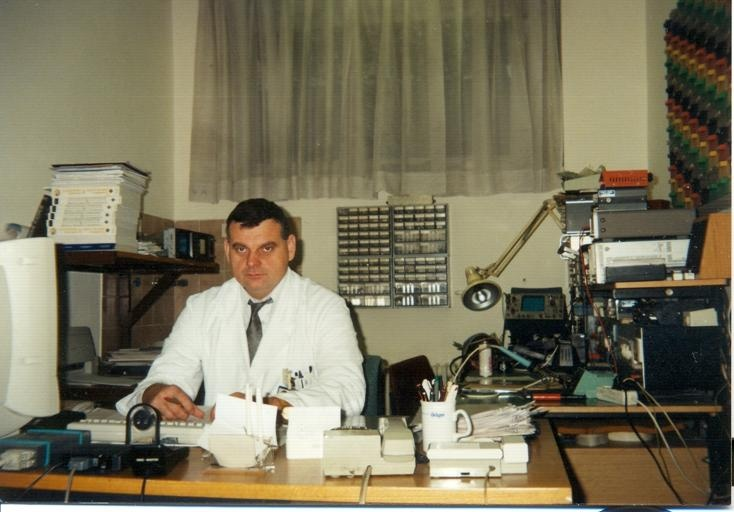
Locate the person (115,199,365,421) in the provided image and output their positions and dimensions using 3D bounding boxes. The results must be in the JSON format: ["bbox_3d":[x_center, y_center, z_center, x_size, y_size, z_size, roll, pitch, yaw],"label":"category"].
[{"bbox_3d":[-0.304,0.278,3.918,1.224,0.929,0.821,1,-3,5],"label":"person"}]

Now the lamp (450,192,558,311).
[{"bbox_3d":[0.652,-0.021,4.243,0.490,0.527,0.102,-1,-2,-15],"label":"lamp"}]
